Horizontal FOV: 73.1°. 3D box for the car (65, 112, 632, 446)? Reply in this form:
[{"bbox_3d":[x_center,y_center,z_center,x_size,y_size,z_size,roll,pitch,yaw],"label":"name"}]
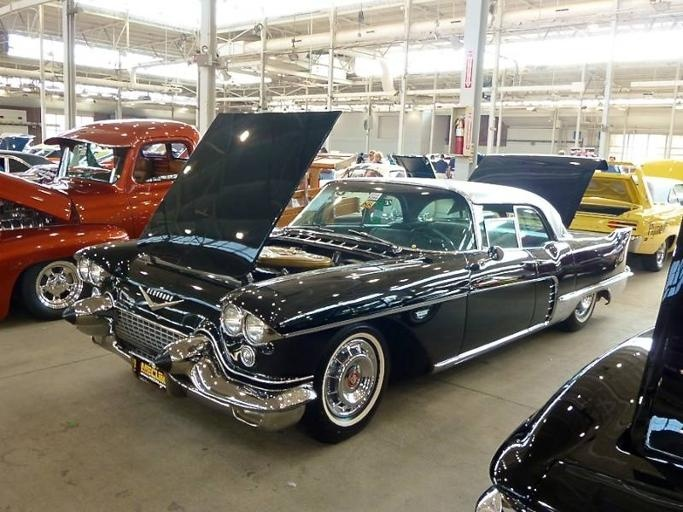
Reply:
[{"bbox_3d":[0.486,-0.109,3.923,4.069,1.375,2.180,-8,11,-37],"label":"car"}]
